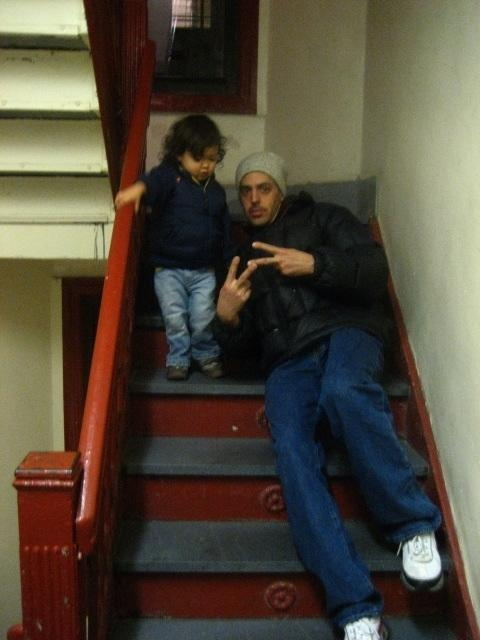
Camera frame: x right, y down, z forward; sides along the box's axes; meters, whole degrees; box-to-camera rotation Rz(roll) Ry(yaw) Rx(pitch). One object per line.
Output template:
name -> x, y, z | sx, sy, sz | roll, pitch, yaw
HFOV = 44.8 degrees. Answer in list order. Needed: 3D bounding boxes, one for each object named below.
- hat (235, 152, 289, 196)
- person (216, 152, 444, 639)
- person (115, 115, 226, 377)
hat -> 0.085, -0.551, 2.147 | 0.117, 0.149, 0.178 | -1, -20, 10
person -> 0.230, 0.085, 1.700 | 0.428, 0.792, 1.332 | -12, 36, 3
person -> -0.198, -0.272, 2.034 | 0.321, 0.852, 0.594 | 0, 17, -1
